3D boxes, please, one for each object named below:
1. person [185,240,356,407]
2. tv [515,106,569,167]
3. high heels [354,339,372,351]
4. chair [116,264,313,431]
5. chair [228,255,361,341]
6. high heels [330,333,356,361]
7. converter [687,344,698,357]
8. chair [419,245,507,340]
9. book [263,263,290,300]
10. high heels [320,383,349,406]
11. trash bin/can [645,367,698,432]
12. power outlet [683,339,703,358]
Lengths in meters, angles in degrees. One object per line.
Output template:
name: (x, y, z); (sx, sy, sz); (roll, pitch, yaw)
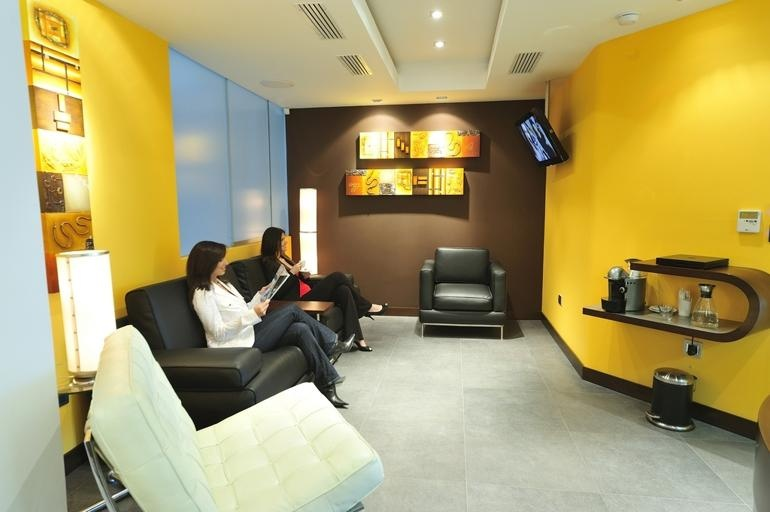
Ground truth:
person: (-0.981, 0.568, 4.699); (1.365, 1.486, 0.650); (-8, 9, -12)
tv: (1.716, -1.281, 5.863); (0.388, 0.563, 0.733); (-3, 5, -4)
high heels: (-0.237, 0.978, 5.858); (0.085, 0.113, 0.252); (8, -11, -43)
chair: (-1.492, 0.777, 4.620); (1.203, 1.083, 1.672); (3, 5, -2)
chair: (-1.023, 0.443, 5.727); (0.985, 0.851, 1.002); (0, 2, 3)
high heels: (-0.460, 0.859, 5.236); (0.118, 0.168, 0.367); (8, 37, 25)
converter: (2.477, 0.756, 4.337); (0.102, 0.091, 0.053); (3, 6, 40)
chair: (0.934, 0.381, 6.624); (1.055, 0.879, 0.983); (1, 8, 8)
book: (-1.098, 0.239, 5.348); (0.040, 0.314, 0.372); (34, 19, -9)
high heels: (-0.401, 1.219, 4.667); (0.300, 0.219, 0.117); (-1, -2, 7)
trash bin/can: (2.337, 1.171, 4.377); (0.373, 0.434, 0.376); (-3, 4, -28)
power outlet: (2.486, 0.751, 4.338); (0.141, 0.135, 0.140); (12, -12, -39)
